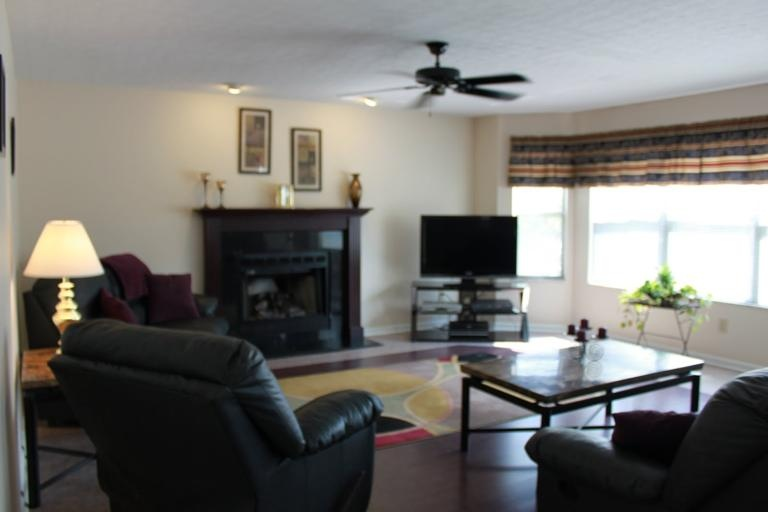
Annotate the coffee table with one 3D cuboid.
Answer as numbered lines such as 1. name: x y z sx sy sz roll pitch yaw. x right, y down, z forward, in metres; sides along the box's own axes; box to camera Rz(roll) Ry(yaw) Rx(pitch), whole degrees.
1. coffee table: 1.358 0.896 4.507 1.543 0.610 0.835 -3 3 -29

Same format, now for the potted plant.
1. potted plant: 3.025 0.442 6.400 0.872 0.715 0.829 1 4 17

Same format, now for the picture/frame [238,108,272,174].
1. picture/frame: -1.421 -1.260 6.460 0.348 0.716 0.030 -2 6 -23

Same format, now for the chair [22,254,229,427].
1. chair: -2.169 0.747 5.411 1.196 1.343 2.054 2 7 -2

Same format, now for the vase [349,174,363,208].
1. vase: -0.328 -0.758 6.871 0.145 0.422 0.326 0 5 -4

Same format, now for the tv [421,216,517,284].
1. tv: 1.036 -0.098 7.096 0.955 0.581 0.089 1 0 1

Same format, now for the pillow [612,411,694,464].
1. pillow: 1.411 0.946 3.063 0.329 0.286 0.138 -1 4 33

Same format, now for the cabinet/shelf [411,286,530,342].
1. cabinet/shelf: 1.016 0.703 7.160 1.430 0.636 0.508 1 -3 2
